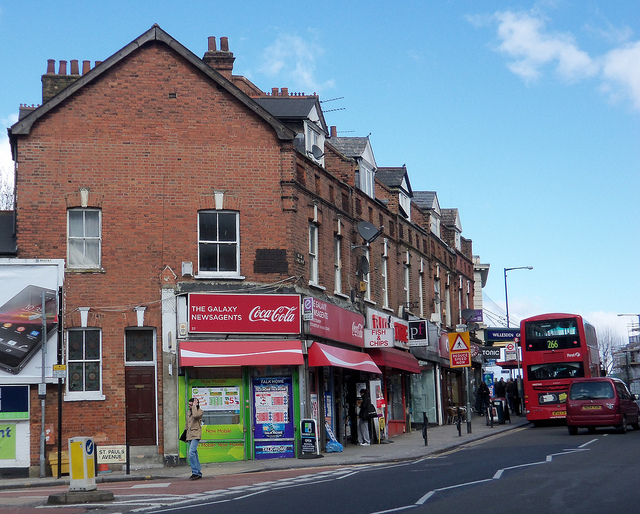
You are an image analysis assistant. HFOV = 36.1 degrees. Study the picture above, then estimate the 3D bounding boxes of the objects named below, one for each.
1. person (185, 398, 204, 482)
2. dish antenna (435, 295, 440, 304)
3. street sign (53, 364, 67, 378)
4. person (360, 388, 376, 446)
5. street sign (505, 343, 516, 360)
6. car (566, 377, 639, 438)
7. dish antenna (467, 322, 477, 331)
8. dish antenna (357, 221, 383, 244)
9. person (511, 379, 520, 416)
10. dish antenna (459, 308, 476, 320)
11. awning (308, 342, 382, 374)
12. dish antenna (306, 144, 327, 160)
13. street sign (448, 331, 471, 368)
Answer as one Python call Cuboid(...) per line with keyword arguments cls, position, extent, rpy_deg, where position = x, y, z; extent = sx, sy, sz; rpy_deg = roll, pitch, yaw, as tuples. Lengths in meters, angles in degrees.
Cuboid(cls="person", position=(-3.554, 5.101, 27.585), extent=(0.478, 2.353, 1.090), rpy_deg=(-2, -14, -7))
Cuboid(cls="dish antenna", position=(6.108, 2.214, 51.247), extent=(0.049, 0.541, 0.907), rpy_deg=(-9, -15, 19))
Cuboid(cls="street sign", position=(-7.857, 3.405, 29.446), extent=(0.389, 0.405, 0.213), rpy_deg=(1, 0, -7))
Cuboid(cls="person", position=(1.702, 5.888, 36.130), extent=(0.617, 2.010, 0.986), rpy_deg=(-4, -14, -2))
Cuboid(cls="street sign", position=(10.231, 5.079, 52.585), extent=(0.859, 1.268, 0.199), rpy_deg=(3, -7, -38))
Cuboid(cls="car", position=(10.359, 5.283, 35.363), extent=(3.184, 1.986, 1.579), rpy_deg=(6, -18, -37))
Cuboid(cls="dish antenna", position=(7.567, 3.550, 48.788), extent=(0.466, 0.187, 0.689), rpy_deg=(5, 8, 11))
Cuboid(cls="dish antenna", position=(1.845, -0.991, 37.731), extent=(0.767, 0.842, 0.537), rpy_deg=(-5, -14, 1))
Cuboid(cls="person", position=(10.622, 7.622, 53.306), extent=(0.513, 2.154, 0.546), rpy_deg=(2, 10, 8))
Cuboid(cls="dish antenna", position=(7.860, 3.005, 52.022), extent=(0.653, 0.664, 0.954), rpy_deg=(-6, -15, 6))
Cuboid(cls="awning", position=(1.031, 3.654, 34.840), extent=(0.692, 0.785, 4.268), rpy_deg=(-5, -12, 28))
Cuboid(cls="dish antenna", position=(-0.125, -3.975, 37.349), extent=(0.140, 0.603, 0.854), rpy_deg=(-10, -15, 24))
Cuboid(cls="street sign", position=(5.179, 3.465, 36.440), extent=(0.826, 1.591, 0.127), rpy_deg=(-6, -41, 11))
